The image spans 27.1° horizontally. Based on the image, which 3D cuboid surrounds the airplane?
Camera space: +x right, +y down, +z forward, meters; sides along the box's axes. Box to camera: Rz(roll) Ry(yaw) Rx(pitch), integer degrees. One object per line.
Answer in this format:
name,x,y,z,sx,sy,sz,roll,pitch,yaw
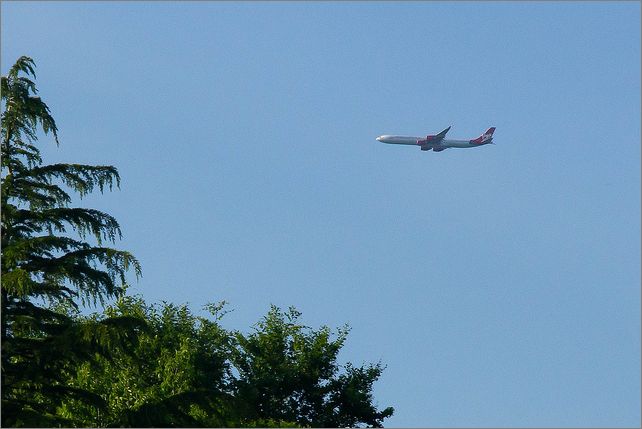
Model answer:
airplane,8.449,-5.484,100.914,6.638,1.599,6.375,3,-1,12
